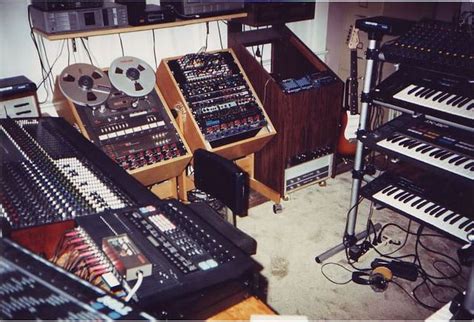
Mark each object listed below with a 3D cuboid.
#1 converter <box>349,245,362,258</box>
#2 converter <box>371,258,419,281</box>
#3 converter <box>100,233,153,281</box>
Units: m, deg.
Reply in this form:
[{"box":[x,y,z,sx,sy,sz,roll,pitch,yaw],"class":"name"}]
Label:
[{"box":[1.041,0.808,3.445,0.124,0.102,0.080,-14,35,-7],"class":"converter"},{"box":[1.320,0.873,3.268,0.316,0.113,0.171,9,29,23],"class":"converter"},{"box":[-0.487,0.414,1.713,0.119,0.058,0.247,-6,27,-39],"class":"converter"}]
